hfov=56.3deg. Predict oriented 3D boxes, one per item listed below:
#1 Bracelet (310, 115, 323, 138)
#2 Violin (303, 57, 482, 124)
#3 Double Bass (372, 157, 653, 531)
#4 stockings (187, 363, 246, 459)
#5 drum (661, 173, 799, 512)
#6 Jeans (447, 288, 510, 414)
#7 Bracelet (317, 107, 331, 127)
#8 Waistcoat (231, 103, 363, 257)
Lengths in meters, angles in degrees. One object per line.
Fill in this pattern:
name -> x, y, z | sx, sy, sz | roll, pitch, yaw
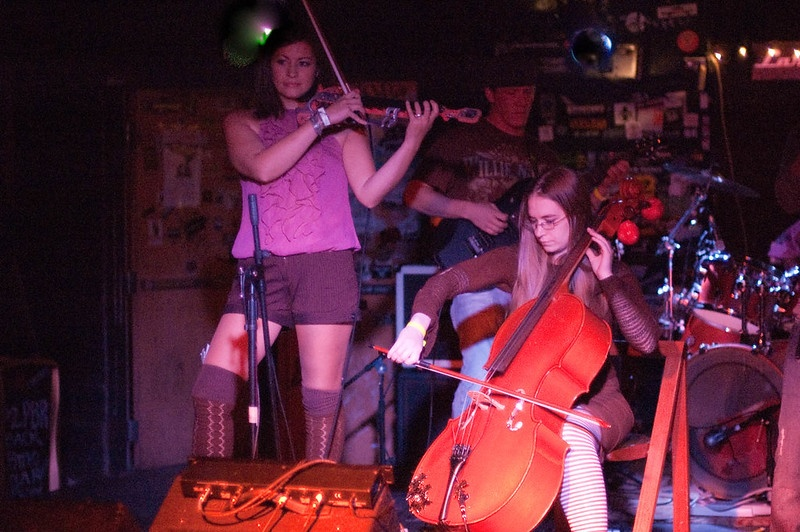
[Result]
Bracelet -> -0.432, -0.723, 3.875 | 0.029, 0.092, 0.061 | -8, -3, 42
Violin -> -0.037, -0.867, 3.932 | 0.825, 0.362, 0.158 | 5, -43, 13
Double Bass -> 0.850, 0.163, 3.882 | 1.227, 1.901, 0.661 | 1, -33, 50
stockings -> -0.927, 0.724, 3.794 | 0.257, 0.452, 0.174 | 1, -3, -15
drum -> 2.413, 0.767, 5.593 | 1.199, 1.582, 1.521 | 4, 1, 22
Jeans -> 0.536, 0.391, 4.592 | 0.348, 0.820, 0.223 | 19, -55, -20
Bracelet -> -0.391, -0.766, 3.863 | 0.070, 0.080, 0.019 | -15, 5, 39
Waistcoat -> -0.648, -0.490, 4.138 | 0.772, 0.427, 1.297 | -12, -20, -8
